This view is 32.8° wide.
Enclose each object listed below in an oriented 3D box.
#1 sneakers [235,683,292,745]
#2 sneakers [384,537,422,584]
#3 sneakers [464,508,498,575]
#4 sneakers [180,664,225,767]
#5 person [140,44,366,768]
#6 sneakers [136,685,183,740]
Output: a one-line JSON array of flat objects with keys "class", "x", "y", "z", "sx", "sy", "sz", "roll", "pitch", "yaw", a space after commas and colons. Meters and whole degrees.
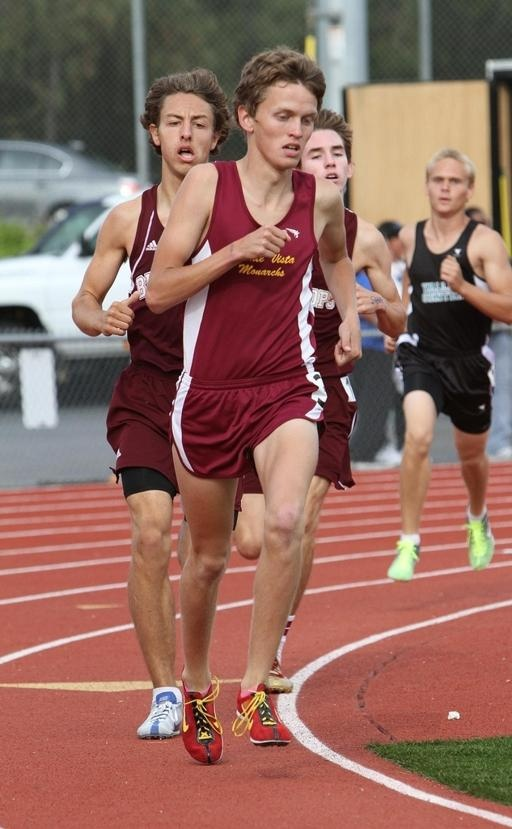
[{"class": "sneakers", "x": 0.014, "y": 0.704, "z": 2.066, "sx": 0.093, "sy": 0.108, "sz": 0.264, "roll": 4, "pitch": -3, "yaw": -15}, {"class": "sneakers", "x": 0.723, "y": 0.734, "z": 4.320, "sx": 0.111, "sy": 0.124, "sz": 0.295, "roll": -1, "pitch": 29, "yaw": 16}, {"class": "sneakers", "x": 1.316, "y": 0.741, "z": 5.098, "sx": 0.143, "sy": 0.381, "sz": 0.176, "roll": -4, "pitch": -6, "yaw": 19}, {"class": "sneakers", "x": -0.154, "y": 0.842, "z": 2.434, "sx": 0.115, "sy": 0.101, "sz": 0.304, "roll": -4, "pitch": 33, "yaw": -10}, {"class": "person", "x": -0.001, "y": 0.021, "z": 2.254, "sx": 0.555, "sy": 1.870, "sz": 0.703, "roll": -3, "pitch": -4, "yaw": 6}, {"class": "sneakers", "x": -0.292, "y": 0.911, "z": 2.641, "sx": 0.090, "sy": 0.113, "sz": 0.245, "roll": -1, "pitch": -7, "yaw": 5}]
